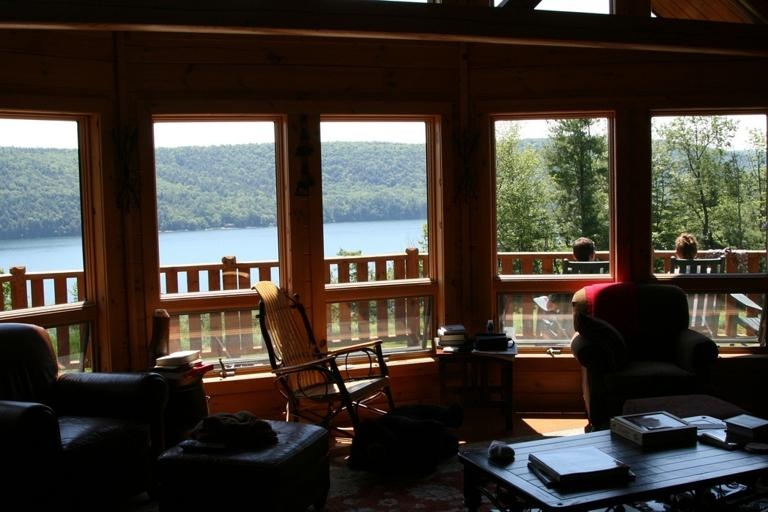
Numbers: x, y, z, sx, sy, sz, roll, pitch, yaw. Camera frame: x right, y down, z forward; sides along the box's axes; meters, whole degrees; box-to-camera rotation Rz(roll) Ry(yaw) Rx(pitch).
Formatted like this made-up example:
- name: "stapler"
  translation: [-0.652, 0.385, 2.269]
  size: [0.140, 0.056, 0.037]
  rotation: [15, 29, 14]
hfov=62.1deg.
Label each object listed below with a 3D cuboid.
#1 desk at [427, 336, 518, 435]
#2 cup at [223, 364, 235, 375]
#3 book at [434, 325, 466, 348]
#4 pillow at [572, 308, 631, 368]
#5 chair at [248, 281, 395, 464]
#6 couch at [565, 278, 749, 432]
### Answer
- name: "desk"
  translation: [0.836, 1.150, 5.851]
  size: [0.828, 0.709, 0.782]
  rotation: [-1, 1, 7]
- name: "cup"
  translation: [-1.372, 1.012, 5.711]
  size: [0.095, 0.082, 0.071]
  rotation: [-6, 3, -16]
- name: "book"
  translation: [0.608, 0.710, 5.706]
  size: [0.218, 0.097, 0.203]
  rotation: [-2, 0, 1]
- name: "pillow"
  translation: [1.793, 0.722, 5.299]
  size: [0.499, 0.390, 0.147]
  rotation: [20, -25, -27]
- name: "chair"
  translation: [-0.538, 0.881, 5.333]
  size: [1.088, 1.253, 0.833]
  rotation: [-6, 2, 17]
- name: "couch"
  translation: [2.201, 0.930, 5.705]
  size: [1.404, 1.432, 1.215]
  rotation: [-2, -14, 2]
